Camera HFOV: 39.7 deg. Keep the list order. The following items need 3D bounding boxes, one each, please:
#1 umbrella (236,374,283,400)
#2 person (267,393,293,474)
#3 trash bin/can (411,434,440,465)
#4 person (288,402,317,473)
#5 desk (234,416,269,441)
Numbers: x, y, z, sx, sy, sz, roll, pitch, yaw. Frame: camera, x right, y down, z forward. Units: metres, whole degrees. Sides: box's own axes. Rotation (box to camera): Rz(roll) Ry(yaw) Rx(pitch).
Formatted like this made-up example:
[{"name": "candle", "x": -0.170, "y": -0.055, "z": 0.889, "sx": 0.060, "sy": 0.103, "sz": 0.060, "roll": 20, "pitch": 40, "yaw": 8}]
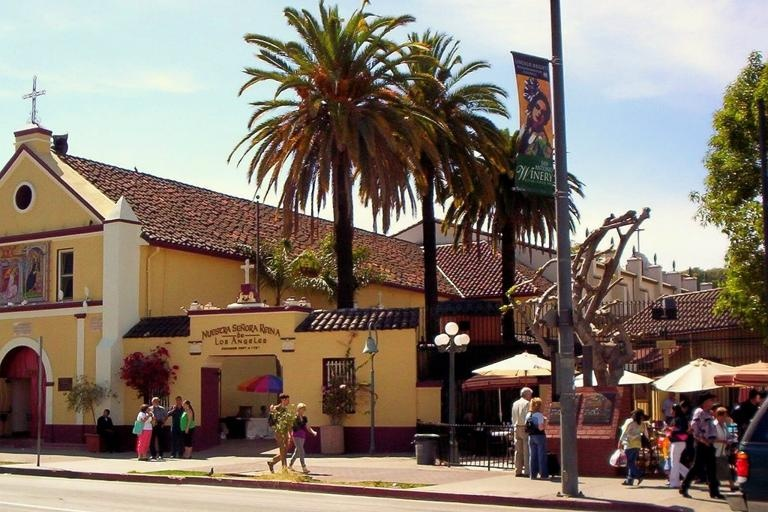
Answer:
[{"name": "umbrella", "x": -5.411, "y": 5.664, "z": 47.159, "sx": 1.691, "sy": 0.764, "sz": 1.067, "roll": -7, "pitch": -14, "yaw": 29}, {"name": "person", "x": -3.474, "y": 5.892, "z": 35.607, "sx": 1.169, "sy": 2.534, "sz": 0.860, "roll": -1, "pitch": -4, "yaw": 17}, {"name": "trash bin/can", "x": 1.462, "y": 6.840, "z": 37.248, "sx": 0.956, "sy": 0.910, "sz": 0.914, "roll": -1, "pitch": -23, "yaw": 4}, {"name": "person", "x": -2.712, "y": 6.138, "z": 35.384, "sx": 0.906, "sy": 2.306, "sz": 1.272, "roll": 1, "pitch": -7, "yaw": -17}, {"name": "desk", "x": -5.723, "y": 7.870, "z": 48.410, "sx": 1.165, "sy": 1.072, "sz": 1.431, "roll": 2, "pitch": -13, "yaw": -8}]
